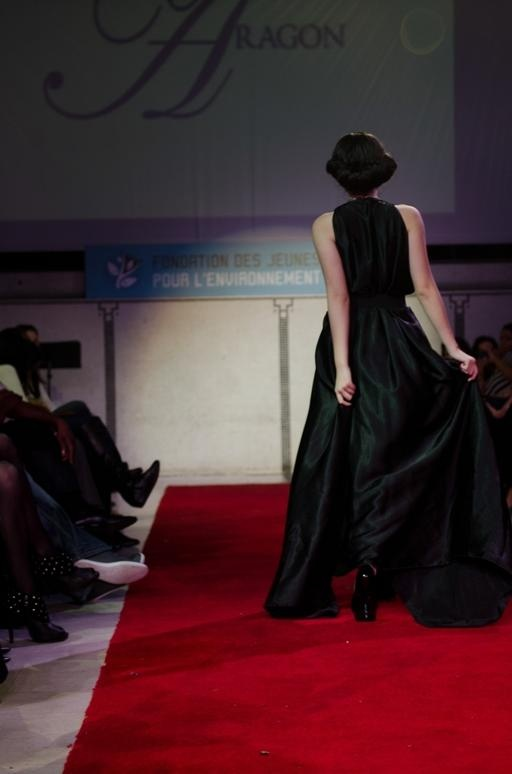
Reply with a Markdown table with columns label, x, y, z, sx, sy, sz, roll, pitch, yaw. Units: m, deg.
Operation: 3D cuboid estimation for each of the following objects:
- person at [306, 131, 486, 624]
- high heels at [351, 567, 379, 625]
| label | x | y | z | sx | sy | sz | roll | pitch | yaw |
| --- | --- | --- | --- | --- | --- | --- | --- | --- | --- |
| person | 0.425 | -0.078 | 2.107 | 0.449 | 1.229 | 0.284 | -5 | -2 | -3 |
| high heels | 0.299 | 0.565 | 1.947 | 0.056 | 0.154 | 0.065 | -3 | 7 | 7 |
